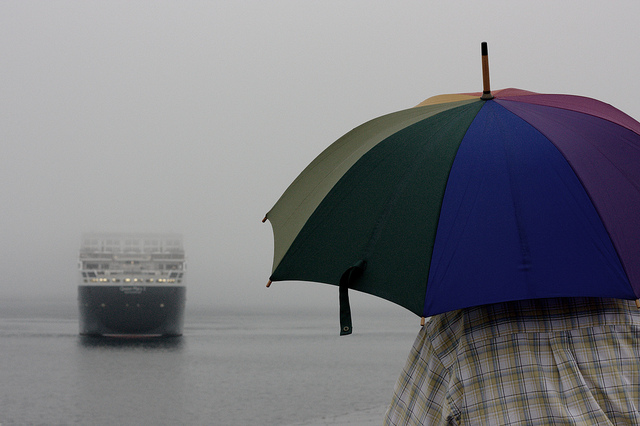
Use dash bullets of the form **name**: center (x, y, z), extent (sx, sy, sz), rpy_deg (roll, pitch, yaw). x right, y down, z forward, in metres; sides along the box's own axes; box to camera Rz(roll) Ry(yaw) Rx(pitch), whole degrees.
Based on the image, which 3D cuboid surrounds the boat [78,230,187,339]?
- **boat**: center (-7.011, 2.959, 28.959), extent (3.747, 3.283, 6.637), rpy_deg (1, -17, -21)
